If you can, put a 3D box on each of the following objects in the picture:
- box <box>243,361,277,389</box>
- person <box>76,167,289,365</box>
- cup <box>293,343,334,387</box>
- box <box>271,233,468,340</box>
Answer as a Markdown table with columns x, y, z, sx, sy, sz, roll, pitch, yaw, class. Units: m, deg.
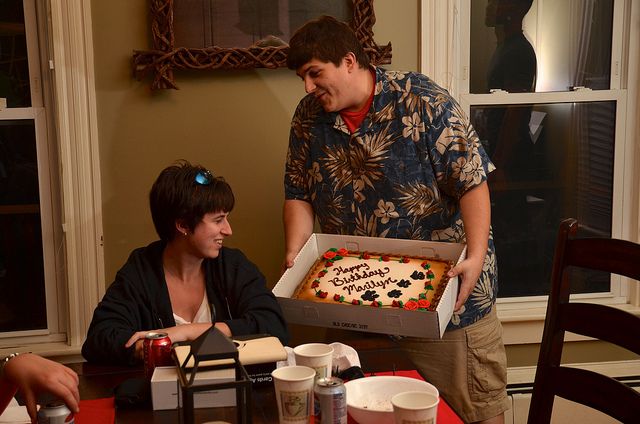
| x | y | z | sx | sy | sz | roll | pitch | yaw | class |
| --- | --- | --- | --- | --- | --- | --- | --- | --- | --- |
| -0.217 | 0.576 | 1.888 | 0.110 | 0.068 | 0.106 | 0 | 8 | 3 | box |
| -0.644 | 0.392 | 2.446 | 0.943 | 1.156 | 0.637 | 4 | -1 | -16 | person |
| -0.015 | 0.507 | 1.830 | 0.115 | 0.125 | 0.119 | -1 | 1 | 0 | cup |
| 0.218 | 0.297 | 2.339 | 0.783 | 0.364 | 0.387 | 0 | 9 | 21 | box |
